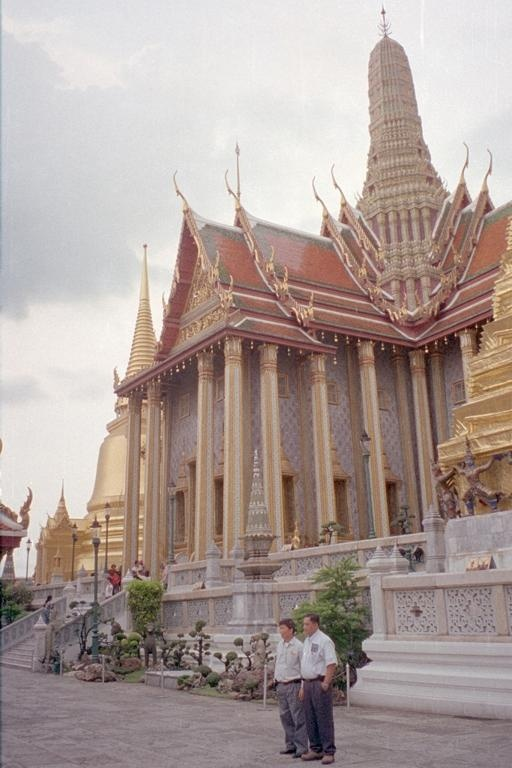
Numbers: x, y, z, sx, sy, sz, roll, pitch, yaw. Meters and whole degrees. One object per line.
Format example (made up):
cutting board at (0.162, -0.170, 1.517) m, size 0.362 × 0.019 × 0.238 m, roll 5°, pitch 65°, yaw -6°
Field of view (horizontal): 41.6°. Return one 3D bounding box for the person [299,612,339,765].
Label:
person at (0.361, 1.754, 3.914) m, size 0.222 × 0.795 × 0.460 m, roll -4°, pitch -15°, yaw 5°

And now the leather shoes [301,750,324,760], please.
leather shoes at (0.326, 2.094, 3.800) m, size 0.149 × 0.075 × 0.050 m, roll 18°, pitch -32°, yaw -31°
